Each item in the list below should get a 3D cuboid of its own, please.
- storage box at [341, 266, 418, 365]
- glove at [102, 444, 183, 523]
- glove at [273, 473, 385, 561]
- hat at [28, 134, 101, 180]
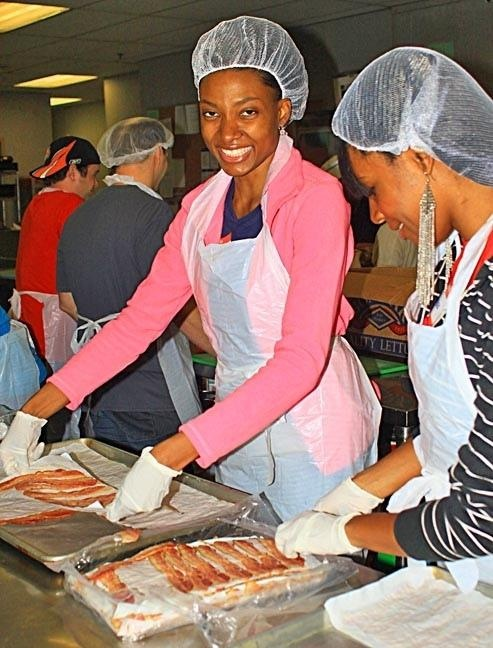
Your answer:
[{"bbox_3d":[0.557,-0.048,2.260,0.402,0.365,0.196,5,7,42],"label":"storage box"},{"bbox_3d":[-0.189,0.298,1.007,0.105,0.165,0.061,33,17,6],"label":"glove"},{"bbox_3d":[0.127,0.337,0.903,0.155,0.056,0.151,-26,1,16],"label":"glove"},{"bbox_3d":[-0.965,-0.907,2.853,0.390,0.180,0.231,-10,25,-10],"label":"hat"}]
